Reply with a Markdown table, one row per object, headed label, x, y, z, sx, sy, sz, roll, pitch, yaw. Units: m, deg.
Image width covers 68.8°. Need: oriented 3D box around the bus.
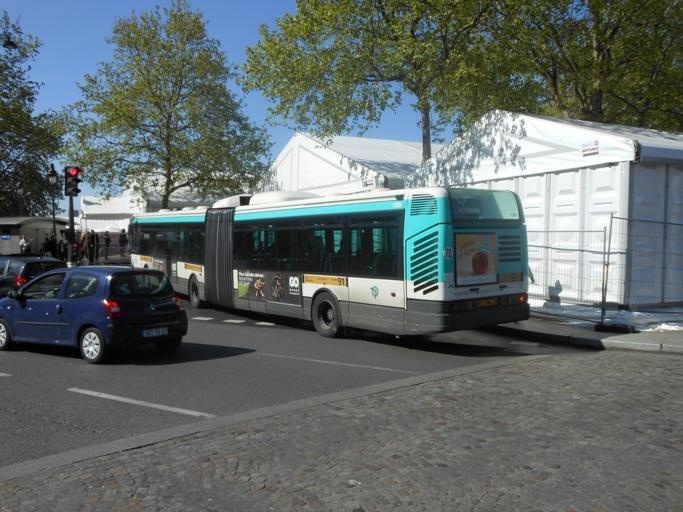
| label | x | y | z | sx | sy | sz | roll | pitch | yaw |
| --- | --- | --- | --- | --- | --- | --- | --- | --- | --- |
| bus | -2.068 | -0.130 | 15.838 | 3.079 | 3.728 | 14.336 | -8 | 9 | -44 |
